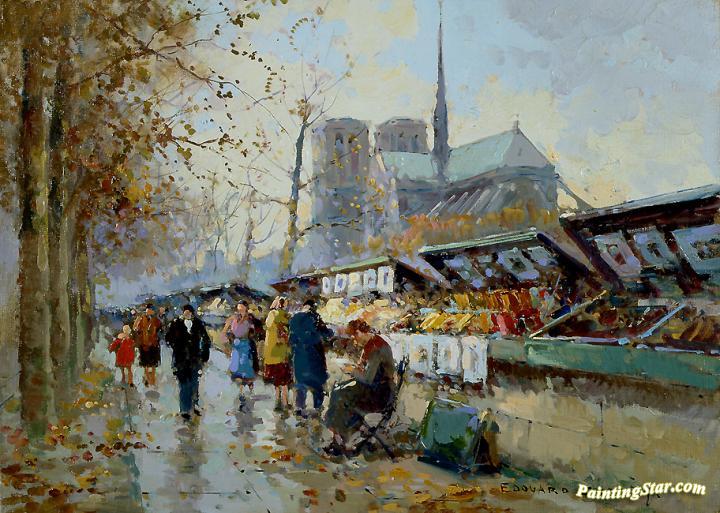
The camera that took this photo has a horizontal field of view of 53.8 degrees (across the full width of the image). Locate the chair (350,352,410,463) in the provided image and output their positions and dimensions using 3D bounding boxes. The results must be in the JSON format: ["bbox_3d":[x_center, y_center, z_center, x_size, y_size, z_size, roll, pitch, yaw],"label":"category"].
[{"bbox_3d":[0.282,2.587,12.221,1.085,1.557,0.596,-4,9,-11],"label":"chair"}]
